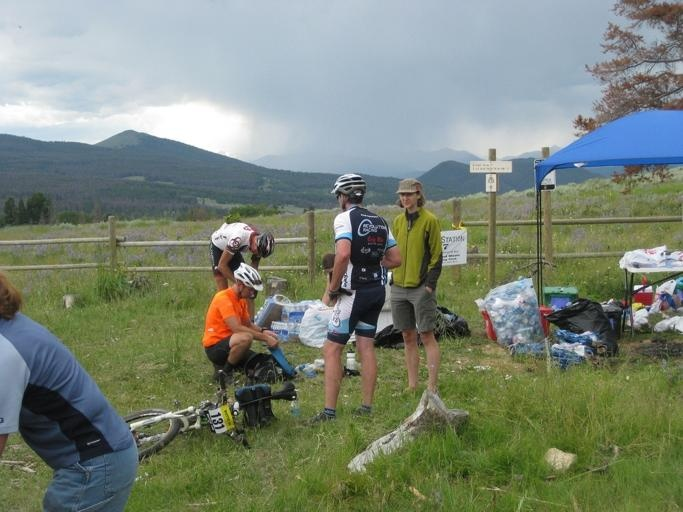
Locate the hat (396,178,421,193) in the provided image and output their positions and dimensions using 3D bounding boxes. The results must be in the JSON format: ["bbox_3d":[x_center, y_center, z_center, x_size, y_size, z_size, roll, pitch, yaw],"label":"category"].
[{"bbox_3d":[0.858,-0.872,9.274,0.171,0.126,0.225,2,1,43],"label":"hat"}]

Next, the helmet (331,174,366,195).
[{"bbox_3d":[0.095,-0.844,8.877,0.326,0.205,0.276,-5,1,1],"label":"helmet"}]

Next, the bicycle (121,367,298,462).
[{"bbox_3d":[-1.509,1.836,8.701,1.597,0.950,1.028,-6,2,-2],"label":"bicycle"}]

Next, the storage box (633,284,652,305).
[{"bbox_3d":[5.008,0.642,12.333,0.297,0.372,0.192,0,-1,5],"label":"storage box"}]

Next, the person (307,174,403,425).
[{"bbox_3d":[0.155,0.457,8.866,1.072,2.845,0.536,-5,7,-39],"label":"person"}]

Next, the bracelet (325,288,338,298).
[{"bbox_3d":[-0.117,0.441,8.767,0.088,0.131,0.161,1,-7,-4],"label":"bracelet"}]

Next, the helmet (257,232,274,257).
[{"bbox_3d":[-1.122,-0.175,10.933,0.221,0.330,0.304,5,10,-36],"label":"helmet"}]

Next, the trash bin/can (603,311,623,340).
[{"bbox_3d":[4.112,1.001,11.144,0.197,0.415,0.527,4,8,44],"label":"trash bin/can"}]

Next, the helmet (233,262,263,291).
[{"bbox_3d":[-1.200,0.231,9.505,0.362,0.216,0.254,32,31,20],"label":"helmet"}]
